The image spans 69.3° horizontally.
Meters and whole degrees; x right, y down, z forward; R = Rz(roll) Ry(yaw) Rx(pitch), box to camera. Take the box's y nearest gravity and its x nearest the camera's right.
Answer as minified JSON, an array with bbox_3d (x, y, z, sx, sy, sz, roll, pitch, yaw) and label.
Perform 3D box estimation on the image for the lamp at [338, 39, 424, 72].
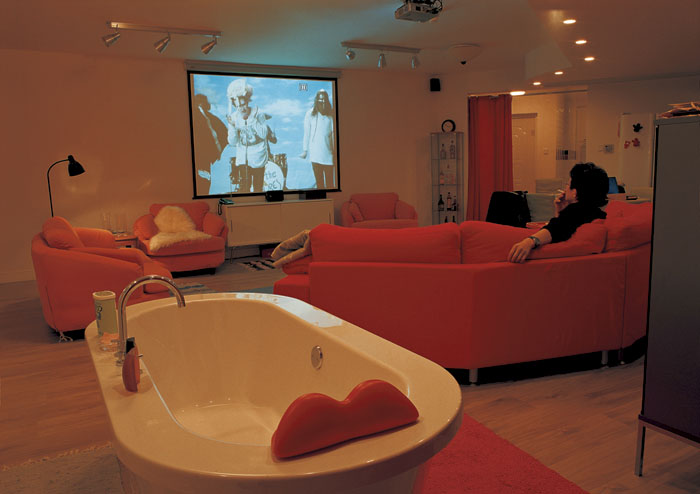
[{"bbox_3d":[0.467,-2.893,7.734,1.579,0.278,0.773,-11,12,-41],"label":"lamp"}]

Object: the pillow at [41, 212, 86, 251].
[{"bbox_3d":[-2.796,-0.126,4.837,0.293,0.178,0.546,-7,-19,-40],"label":"pillow"}]

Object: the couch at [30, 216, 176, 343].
[{"bbox_3d":[-2.561,0.180,5.258,1.325,1.065,1.451,-3,12,-25],"label":"couch"}]

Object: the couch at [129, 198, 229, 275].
[{"bbox_3d":[-2.402,-0.119,7.185,1.444,0.840,1.555,4,14,10],"label":"couch"}]

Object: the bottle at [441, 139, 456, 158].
[{"bbox_3d":[1.912,-1.896,9.739,0.286,0.395,0.117,9,15,33],"label":"bottle"}]

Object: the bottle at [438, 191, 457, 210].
[{"bbox_3d":[1.914,-0.889,9.823,0.306,0.303,0.107,4,15,20],"label":"bottle"}]

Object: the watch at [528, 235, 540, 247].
[{"bbox_3d":[1.332,-0.034,3.638,0.058,0.040,0.075,18,8,5],"label":"watch"}]

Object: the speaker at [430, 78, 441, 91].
[{"bbox_3d":[1.660,-3.100,9.673,0.269,0.264,0.120,-9,12,-31],"label":"speaker"}]

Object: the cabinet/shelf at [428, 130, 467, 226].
[{"bbox_3d":[1.909,-1.327,10.076,0.600,2.438,0.415,-5,46,6],"label":"cabinet/shelf"}]

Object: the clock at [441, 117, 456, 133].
[{"bbox_3d":[1.920,-2.348,9.758,0.264,0.298,0.097,3,-7,7],"label":"clock"}]

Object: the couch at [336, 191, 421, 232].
[{"bbox_3d":[0.485,-0.437,8.323,1.229,0.894,0.924,-3,4,-14],"label":"couch"}]

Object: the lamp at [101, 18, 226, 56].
[{"bbox_3d":[-2.321,-2.581,6.407,1.397,0.295,0.719,-7,10,-21],"label":"lamp"}]
